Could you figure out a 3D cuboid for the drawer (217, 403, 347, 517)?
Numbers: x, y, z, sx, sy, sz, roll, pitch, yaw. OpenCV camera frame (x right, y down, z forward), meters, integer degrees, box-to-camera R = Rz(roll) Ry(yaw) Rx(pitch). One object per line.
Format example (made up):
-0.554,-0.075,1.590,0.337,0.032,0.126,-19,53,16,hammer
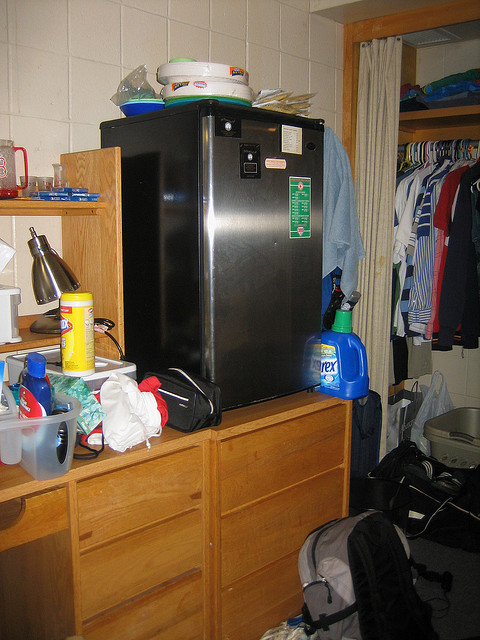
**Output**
0.072,0.364,1.565,0.516,0.257,0.273,-7,12,-33,drawer

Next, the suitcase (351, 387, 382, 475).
0.617,0.612,2.480,0.160,0.444,0.046,-11,-27,37,suitcase

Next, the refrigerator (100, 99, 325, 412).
-0.072,-0.208,1.577,0.508,0.938,0.551,-5,7,-41,refrigerator
